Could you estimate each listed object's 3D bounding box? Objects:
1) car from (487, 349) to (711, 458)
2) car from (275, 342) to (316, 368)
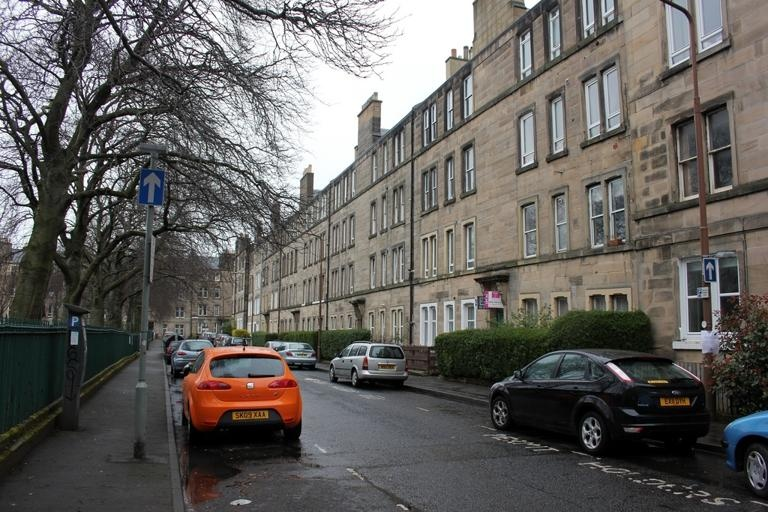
[{"bbox_3d":[4.976,3.257,15.156,2.317,1.775,4.234,9,-11,-25],"label":"car"},{"bbox_3d":[-5.458,6.120,38.874,1.335,1.115,3.083,2,-7,-13],"label":"car"}]
